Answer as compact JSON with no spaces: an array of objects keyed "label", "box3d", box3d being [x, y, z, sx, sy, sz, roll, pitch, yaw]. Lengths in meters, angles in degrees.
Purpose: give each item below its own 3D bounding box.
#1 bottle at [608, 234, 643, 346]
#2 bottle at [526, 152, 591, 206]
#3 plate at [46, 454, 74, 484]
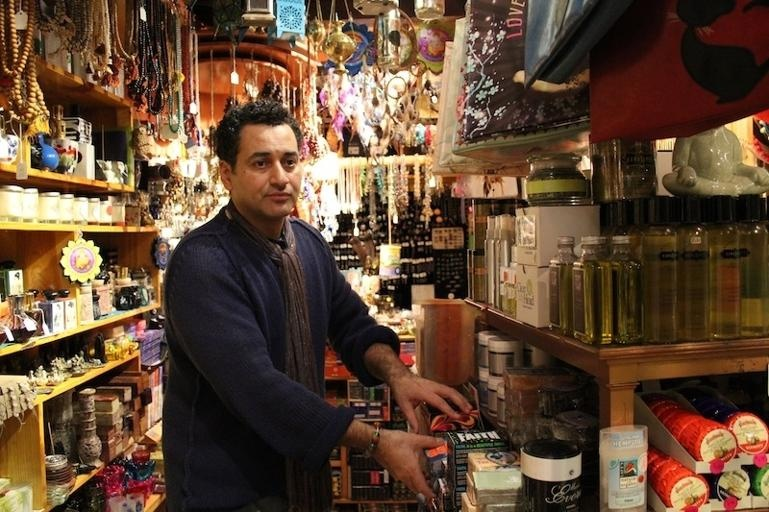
[{"label":"bottle","box3d":[0.786,0.108,2.035,0.094,0.349,0.065,0,3,22]},{"label":"bottle","box3d":[0.654,-0.273,2.343,0.196,0.171,0.204,-2,4,16]},{"label":"plate","box3d":[-1.701,1.116,3.262,0.124,0.070,0.123,0,1,35]}]
